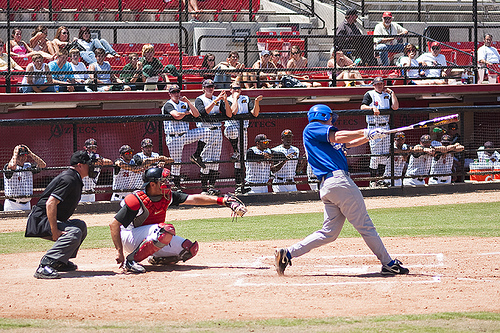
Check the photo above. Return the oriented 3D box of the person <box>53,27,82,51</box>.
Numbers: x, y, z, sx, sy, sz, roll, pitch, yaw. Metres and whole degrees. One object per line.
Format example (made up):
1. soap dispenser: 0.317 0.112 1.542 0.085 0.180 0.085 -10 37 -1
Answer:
1. person: -4.808 -3.277 28.558 0.746 0.711 0.443 -2 -1 31

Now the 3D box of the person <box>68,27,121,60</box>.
1. person: -4.113 -3.252 28.913 1.387 0.776 0.656 3 10 -2

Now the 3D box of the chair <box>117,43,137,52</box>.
1. chair: -3.393 -3.262 30.213 0.495 0.212 0.108 1 -9 -2

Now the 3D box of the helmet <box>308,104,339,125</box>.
1. helmet: 1.431 -1.001 21.395 0.460 0.227 0.327 -1 5 -12

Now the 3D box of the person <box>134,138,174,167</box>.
1. person: -2.346 -0.323 26.187 0.616 0.325 0.779 -4 13 -35

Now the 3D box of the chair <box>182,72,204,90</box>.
1. chair: -1.544 -2.257 29.164 0.726 0.460 0.400 0 0 -9
